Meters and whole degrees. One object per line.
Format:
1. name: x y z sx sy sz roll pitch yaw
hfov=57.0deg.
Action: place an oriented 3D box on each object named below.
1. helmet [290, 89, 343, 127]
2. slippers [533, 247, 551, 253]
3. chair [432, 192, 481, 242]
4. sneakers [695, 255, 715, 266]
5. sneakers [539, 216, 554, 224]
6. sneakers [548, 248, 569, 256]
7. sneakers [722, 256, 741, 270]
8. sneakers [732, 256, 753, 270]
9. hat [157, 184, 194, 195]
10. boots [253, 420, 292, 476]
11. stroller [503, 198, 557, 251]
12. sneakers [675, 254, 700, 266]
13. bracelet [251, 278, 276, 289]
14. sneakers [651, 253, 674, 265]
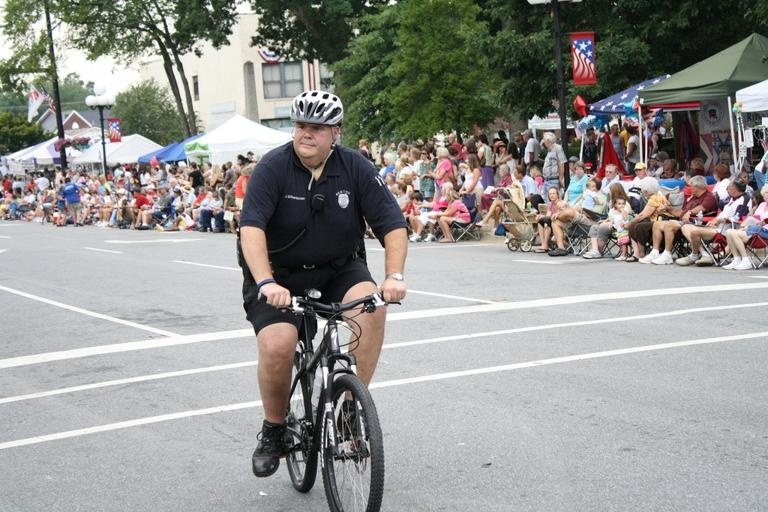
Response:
1. helmet: -0.444 -0.976 4.698 0.334 0.236 0.233 -3 8 -7
2. slippers: 3.779 -0.128 16.985 0.485 0.119 0.300 3 9 34
3. chair: 2.186 -1.082 20.097 1.422 1.736 0.810 1 3 -8
4. sneakers: 6.283 0.123 13.782 0.397 0.194 0.146 0 -1 -10
5. sneakers: 3.808 -0.832 16.649 0.225 0.093 0.134 9 -10 31
6. sneakers: 4.001 -0.064 16.205 0.445 0.170 0.183 2 21 3
7. sneakers: 6.490 0.157 13.256 0.355 0.214 0.141 -4 1 9
8. sneakers: 6.689 0.138 13.080 0.403 0.241 0.173 -4 8 -16
9. hat: -8.216 -2.623 28.016 1.224 0.372 0.731 -3 1 21
10. boots: -0.775 1.309 4.827 0.171 0.223 0.509 2 13 5
11. stroller: 3.608 -0.713 17.264 1.194 1.352 0.949 -5 7 -16
12. sneakers: 5.992 0.101 14.025 0.454 0.208 0.172 -1 8 -4
13. bracelet: -0.729 0.178 4.434 0.098 0.060 0.141 -5 8 -18
14. sneakers: 5.631 0.078 14.228 0.446 0.216 0.168 -2 2 -5
